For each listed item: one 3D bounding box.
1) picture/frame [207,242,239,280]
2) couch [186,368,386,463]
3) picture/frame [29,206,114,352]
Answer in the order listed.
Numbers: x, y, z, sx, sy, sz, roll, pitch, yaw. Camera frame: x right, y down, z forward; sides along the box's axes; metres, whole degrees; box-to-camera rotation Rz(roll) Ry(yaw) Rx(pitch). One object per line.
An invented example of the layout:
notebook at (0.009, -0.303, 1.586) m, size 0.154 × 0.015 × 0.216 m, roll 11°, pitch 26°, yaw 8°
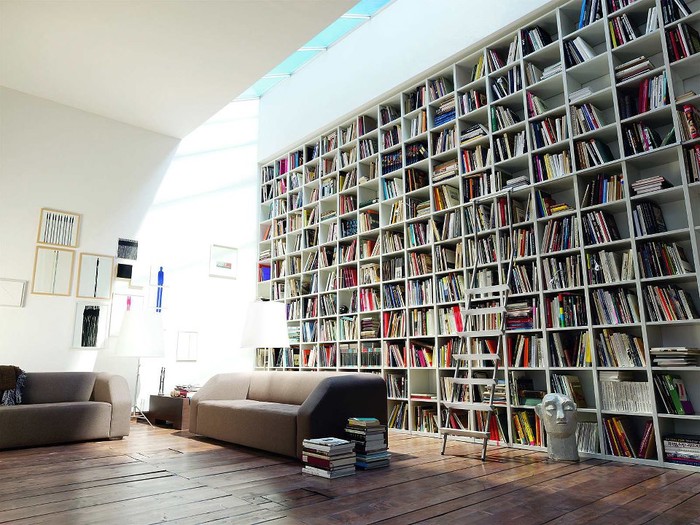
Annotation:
picture/frame at (-2.088, 0.004, 7.517) m, size 0.562 × 0.603 × 0.096 m, roll 8°, pitch -14°, yaw -42°
couch at (-0.699, 1.494, 4.765) m, size 2.017 × 0.757 × 0.790 m, roll -13°, pitch -19°, yaw 41°
picture/frame at (-3.729, 0.230, 6.274) m, size 0.953 × 1.800 × 0.109 m, roll 9°, pitch -17°, yaw -34°
